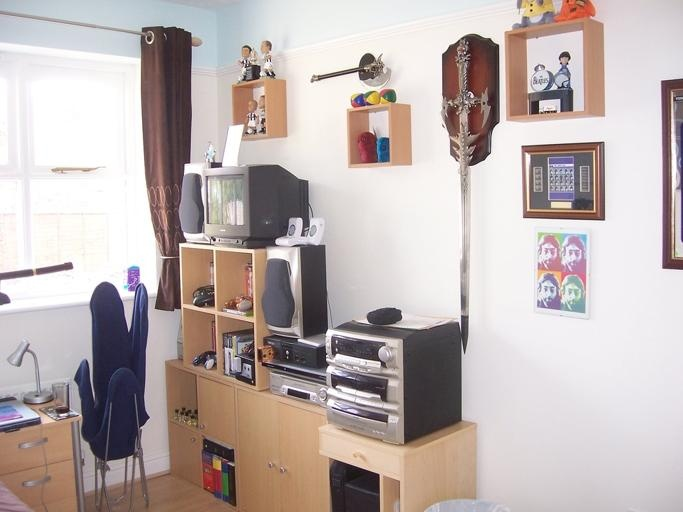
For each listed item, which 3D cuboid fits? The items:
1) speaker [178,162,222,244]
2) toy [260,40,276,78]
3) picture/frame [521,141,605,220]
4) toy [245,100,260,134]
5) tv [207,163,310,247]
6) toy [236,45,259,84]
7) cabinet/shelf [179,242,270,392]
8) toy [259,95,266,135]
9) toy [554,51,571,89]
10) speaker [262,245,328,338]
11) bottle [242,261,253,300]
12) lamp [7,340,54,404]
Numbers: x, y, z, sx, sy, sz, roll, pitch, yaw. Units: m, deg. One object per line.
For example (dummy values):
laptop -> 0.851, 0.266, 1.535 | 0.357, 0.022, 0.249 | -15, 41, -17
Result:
speaker -> -0.926, -0.348, 3.742 | 0.302, 0.507, 0.312 | 0, 6, -28
toy -> -0.483, -1.294, 3.649 | 0.093, 0.268, 0.190 | -1, 6, -7
picture/frame -> 1.023, -0.344, 2.514 | 0.341, 0.371, 0.027 | 3, 5, 41
toy -> -0.608, -0.921, 3.716 | 0.079, 0.228, 0.189 | -4, 7, -32
tv -> -0.627, -0.297, 3.525 | 0.487, 0.430, 0.491 | -9, 10, -43
toy -> -0.654, -1.308, 3.778 | 0.118, 0.276, 0.387 | -3, 7, -25
cabinet/shelf -> -0.737, 0.371, 3.545 | 0.268, 0.900, 0.866 | -5, 9, -35
toy -> -0.518, -0.915, 3.598 | 0.046, 0.232, 0.122 | -1, 6, -10
toy -> 0.978, -0.819, 2.442 | 0.069, 0.180, 0.118 | 2, 6, 23
speaker -> -0.288, 0.195, 3.286 | 0.312, 0.546, 0.273 | 6, 11, 43
bottle -> -0.590, 0.157, 3.501 | 0.050, 0.209, 0.302 | -1, 6, -12
lamp -> -1.882, 0.669, 3.355 | 0.214, 0.400, 0.514 | -3, 7, -29
